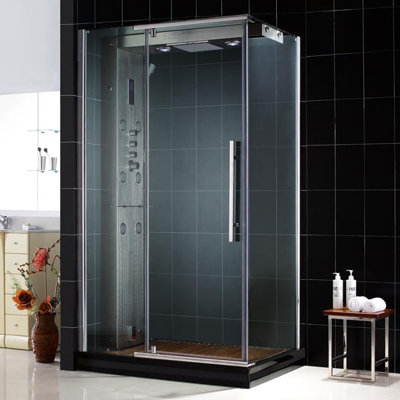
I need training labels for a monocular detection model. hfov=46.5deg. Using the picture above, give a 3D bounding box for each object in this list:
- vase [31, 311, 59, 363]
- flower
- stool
[{"bbox_3d":[-1.196,1.062,3.598,0.192,0.389,0.105,1,-4,-14],"label":"vase"},{"bbox_3d":[-1.367,0.649,3.918,0.424,0.630,0.730,2,-4,-23],"label":"flower"},{"bbox_3d":[1.010,0.907,3.158,0.421,0.689,0.461,-3,-8,29],"label":"stool"}]
